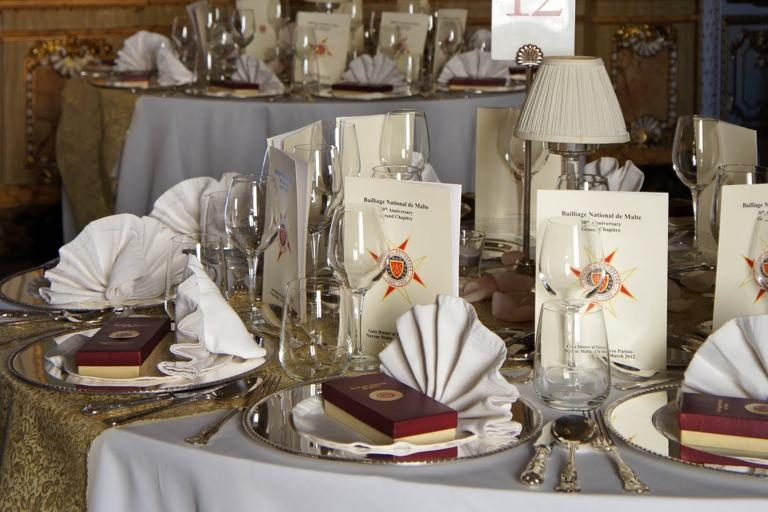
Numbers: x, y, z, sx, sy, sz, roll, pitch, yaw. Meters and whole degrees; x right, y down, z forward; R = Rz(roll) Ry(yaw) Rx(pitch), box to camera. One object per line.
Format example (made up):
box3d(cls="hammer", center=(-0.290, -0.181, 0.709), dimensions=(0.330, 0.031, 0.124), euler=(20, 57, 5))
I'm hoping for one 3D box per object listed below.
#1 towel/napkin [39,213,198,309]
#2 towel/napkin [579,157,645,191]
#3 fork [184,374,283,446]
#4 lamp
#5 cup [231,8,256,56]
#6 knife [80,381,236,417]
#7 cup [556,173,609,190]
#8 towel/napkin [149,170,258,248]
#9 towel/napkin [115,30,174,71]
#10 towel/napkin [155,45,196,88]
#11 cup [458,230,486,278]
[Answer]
box3d(cls="towel/napkin", center=(-0.611, 0.018, 1.502), dimensions=(0.282, 0.104, 0.261), euler=(10, 43, -11))
box3d(cls="towel/napkin", center=(0.682, -0.238, 1.887), dimensions=(0.170, 0.094, 0.216), euler=(-7, 4, 12))
box3d(cls="fork", center=(-0.243, 0.247, 1.058), dimensions=(0.043, 0.032, 0.214), euler=(10, 15, 20))
box3d(cls="lamp", center=(0.394, -0.280, 1.398), dimensions=(0.238, 0.405, 0.232), euler=(-1, 6, 1))
box3d(cls="cup", center=(-0.796, -1.279, 3.633), dimensions=(0.137, 0.187, 0.083), euler=(1, 10, 8))
box3d(cls="knife", center=(-0.385, 0.245, 1.095), dimensions=(0.186, 0.022, 0.027), euler=(-5, 8, -24))
box3d(cls="cup", center=(0.459, -0.169, 1.501), dimensions=(0.110, 0.048, 0.068), euler=(0, 8, -8))
box3d(cls="towel/napkin", center=(-0.485, -0.147, 1.711), dimensions=(0.201, 0.073, 0.184), euler=(-29, 46, -30))
box3d(cls="towel/napkin", center=(-1.370, -1.195, 3.755), dimensions=(0.273, 0.263, 0.098), euler=(4, 6, -5))
box3d(cls="towel/napkin", center=(-1.130, -1.023, 3.454), dimensions=(0.203, 0.095, 0.271), euler=(-4, 23, -19))
box3d(cls="cup", center=(0.213, -0.009, 1.577), dimensions=(0.096, 0.105, 0.094), euler=(4, 4, 0))
